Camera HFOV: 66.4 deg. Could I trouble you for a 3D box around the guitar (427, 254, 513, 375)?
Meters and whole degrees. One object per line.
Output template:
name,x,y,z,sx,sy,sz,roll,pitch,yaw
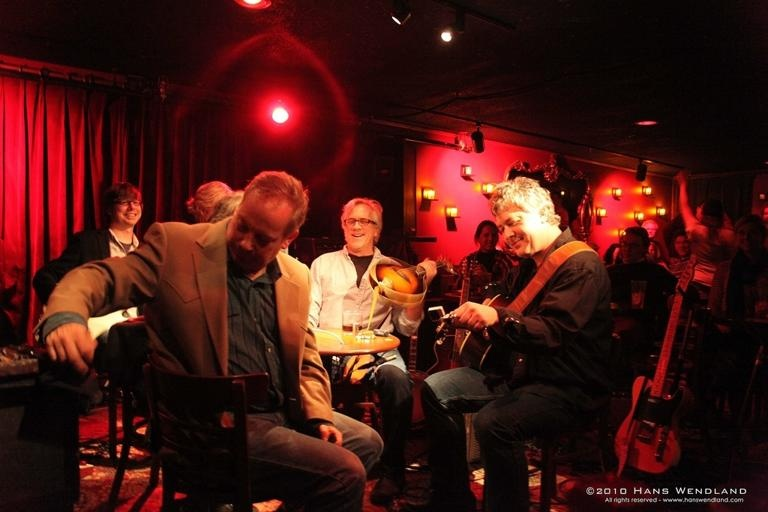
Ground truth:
guitar,1.070,0.565,7.560,0.937,2.015,0.318,-6,-45,35
